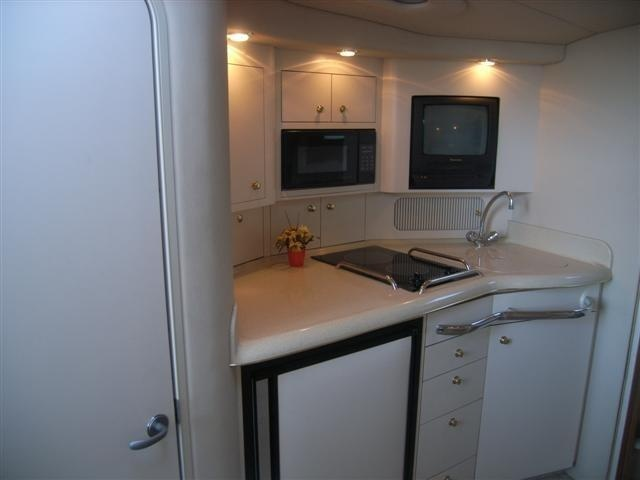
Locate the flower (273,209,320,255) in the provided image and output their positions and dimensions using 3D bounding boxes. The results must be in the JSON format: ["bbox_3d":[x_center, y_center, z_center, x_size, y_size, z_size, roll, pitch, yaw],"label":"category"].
[{"bbox_3d":[-0.118,-0.042,2.649,0.199,0.212,0.198,-10,18,-25],"label":"flower"}]

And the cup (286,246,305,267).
[{"bbox_3d":[-0.117,0.080,2.558,0.086,0.070,0.084,2,11,0],"label":"cup"}]

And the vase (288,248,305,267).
[{"bbox_3d":[-0.113,0.085,2.559,0.084,0.069,0.079,-4,9,-39],"label":"vase"}]

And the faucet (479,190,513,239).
[{"bbox_3d":[0.993,-0.136,2.953,0.184,0.309,0.425,4,13,19],"label":"faucet"}]

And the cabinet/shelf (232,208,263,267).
[{"bbox_3d":[-0.352,-0.017,2.504,0.127,0.241,0.242,7,10,37],"label":"cabinet/shelf"}]
